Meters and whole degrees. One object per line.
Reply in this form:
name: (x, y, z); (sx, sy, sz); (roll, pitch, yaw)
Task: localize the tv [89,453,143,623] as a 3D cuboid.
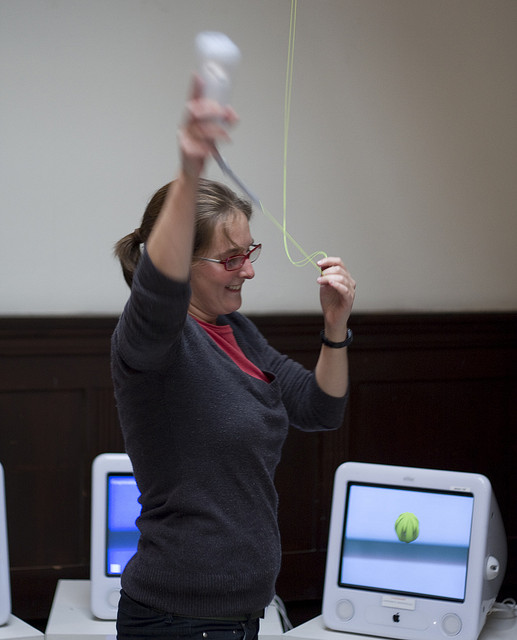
tv: (-0.316, 0.563, 1.676); (0.218, 0.401, 0.043); (2, -1, 6)

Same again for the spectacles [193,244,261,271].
spectacles: (-0.041, -0.104, 0.950); (0.065, 0.018, 0.065); (3, 14, 25)
